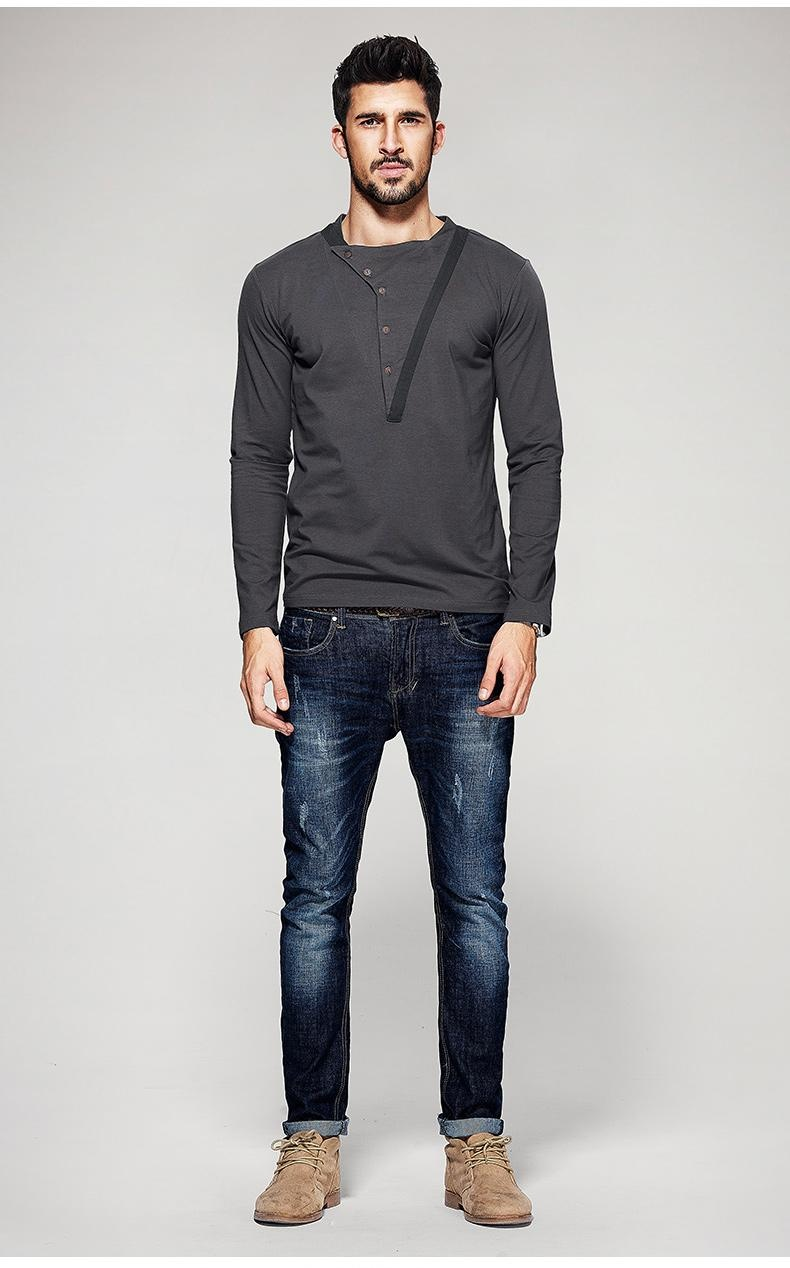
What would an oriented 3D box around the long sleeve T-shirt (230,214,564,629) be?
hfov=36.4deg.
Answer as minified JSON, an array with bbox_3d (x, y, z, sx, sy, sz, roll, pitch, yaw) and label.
[{"bbox_3d":[-0.012,-0.271,1.568,0.436,0.528,0.184,-2,-13,6],"label":"long sleeve T-shirt"}]

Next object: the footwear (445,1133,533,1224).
[{"bbox_3d":[0.118,0.735,1.630,0.069,0.086,0.181,0,-10,-12],"label":"footwear"}]

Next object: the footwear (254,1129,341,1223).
[{"bbox_3d":[-0.126,0.736,1.624,0.088,0.113,0.225,-4,-15,14],"label":"footwear"}]
